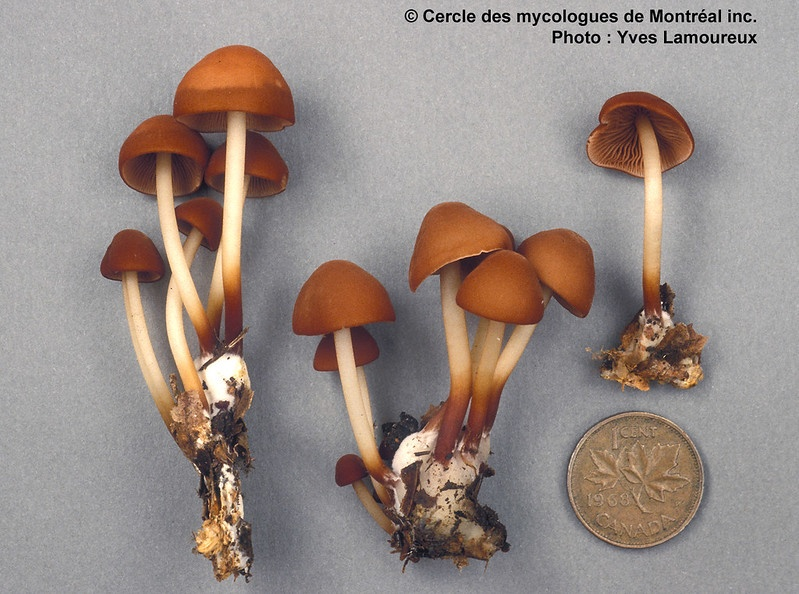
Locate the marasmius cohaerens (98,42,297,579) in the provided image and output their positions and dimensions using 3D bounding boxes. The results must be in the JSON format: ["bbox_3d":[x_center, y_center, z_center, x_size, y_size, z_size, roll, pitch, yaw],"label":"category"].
[{"bbox_3d":[-0.874,0.084,6.165,0.737,2.117,0.515,4,-2,-1],"label":"marasmius cohaerens"}]

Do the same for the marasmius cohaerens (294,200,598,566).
[{"bbox_3d":[0.173,0.382,6.051,1.211,1.301,0.424,4,-2,9],"label":"marasmius cohaerens"}]

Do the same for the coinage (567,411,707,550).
[{"bbox_3d":[1.025,0.807,6.272,0.574,0.658,0.081,-1,-31,12],"label":"coinage"}]
